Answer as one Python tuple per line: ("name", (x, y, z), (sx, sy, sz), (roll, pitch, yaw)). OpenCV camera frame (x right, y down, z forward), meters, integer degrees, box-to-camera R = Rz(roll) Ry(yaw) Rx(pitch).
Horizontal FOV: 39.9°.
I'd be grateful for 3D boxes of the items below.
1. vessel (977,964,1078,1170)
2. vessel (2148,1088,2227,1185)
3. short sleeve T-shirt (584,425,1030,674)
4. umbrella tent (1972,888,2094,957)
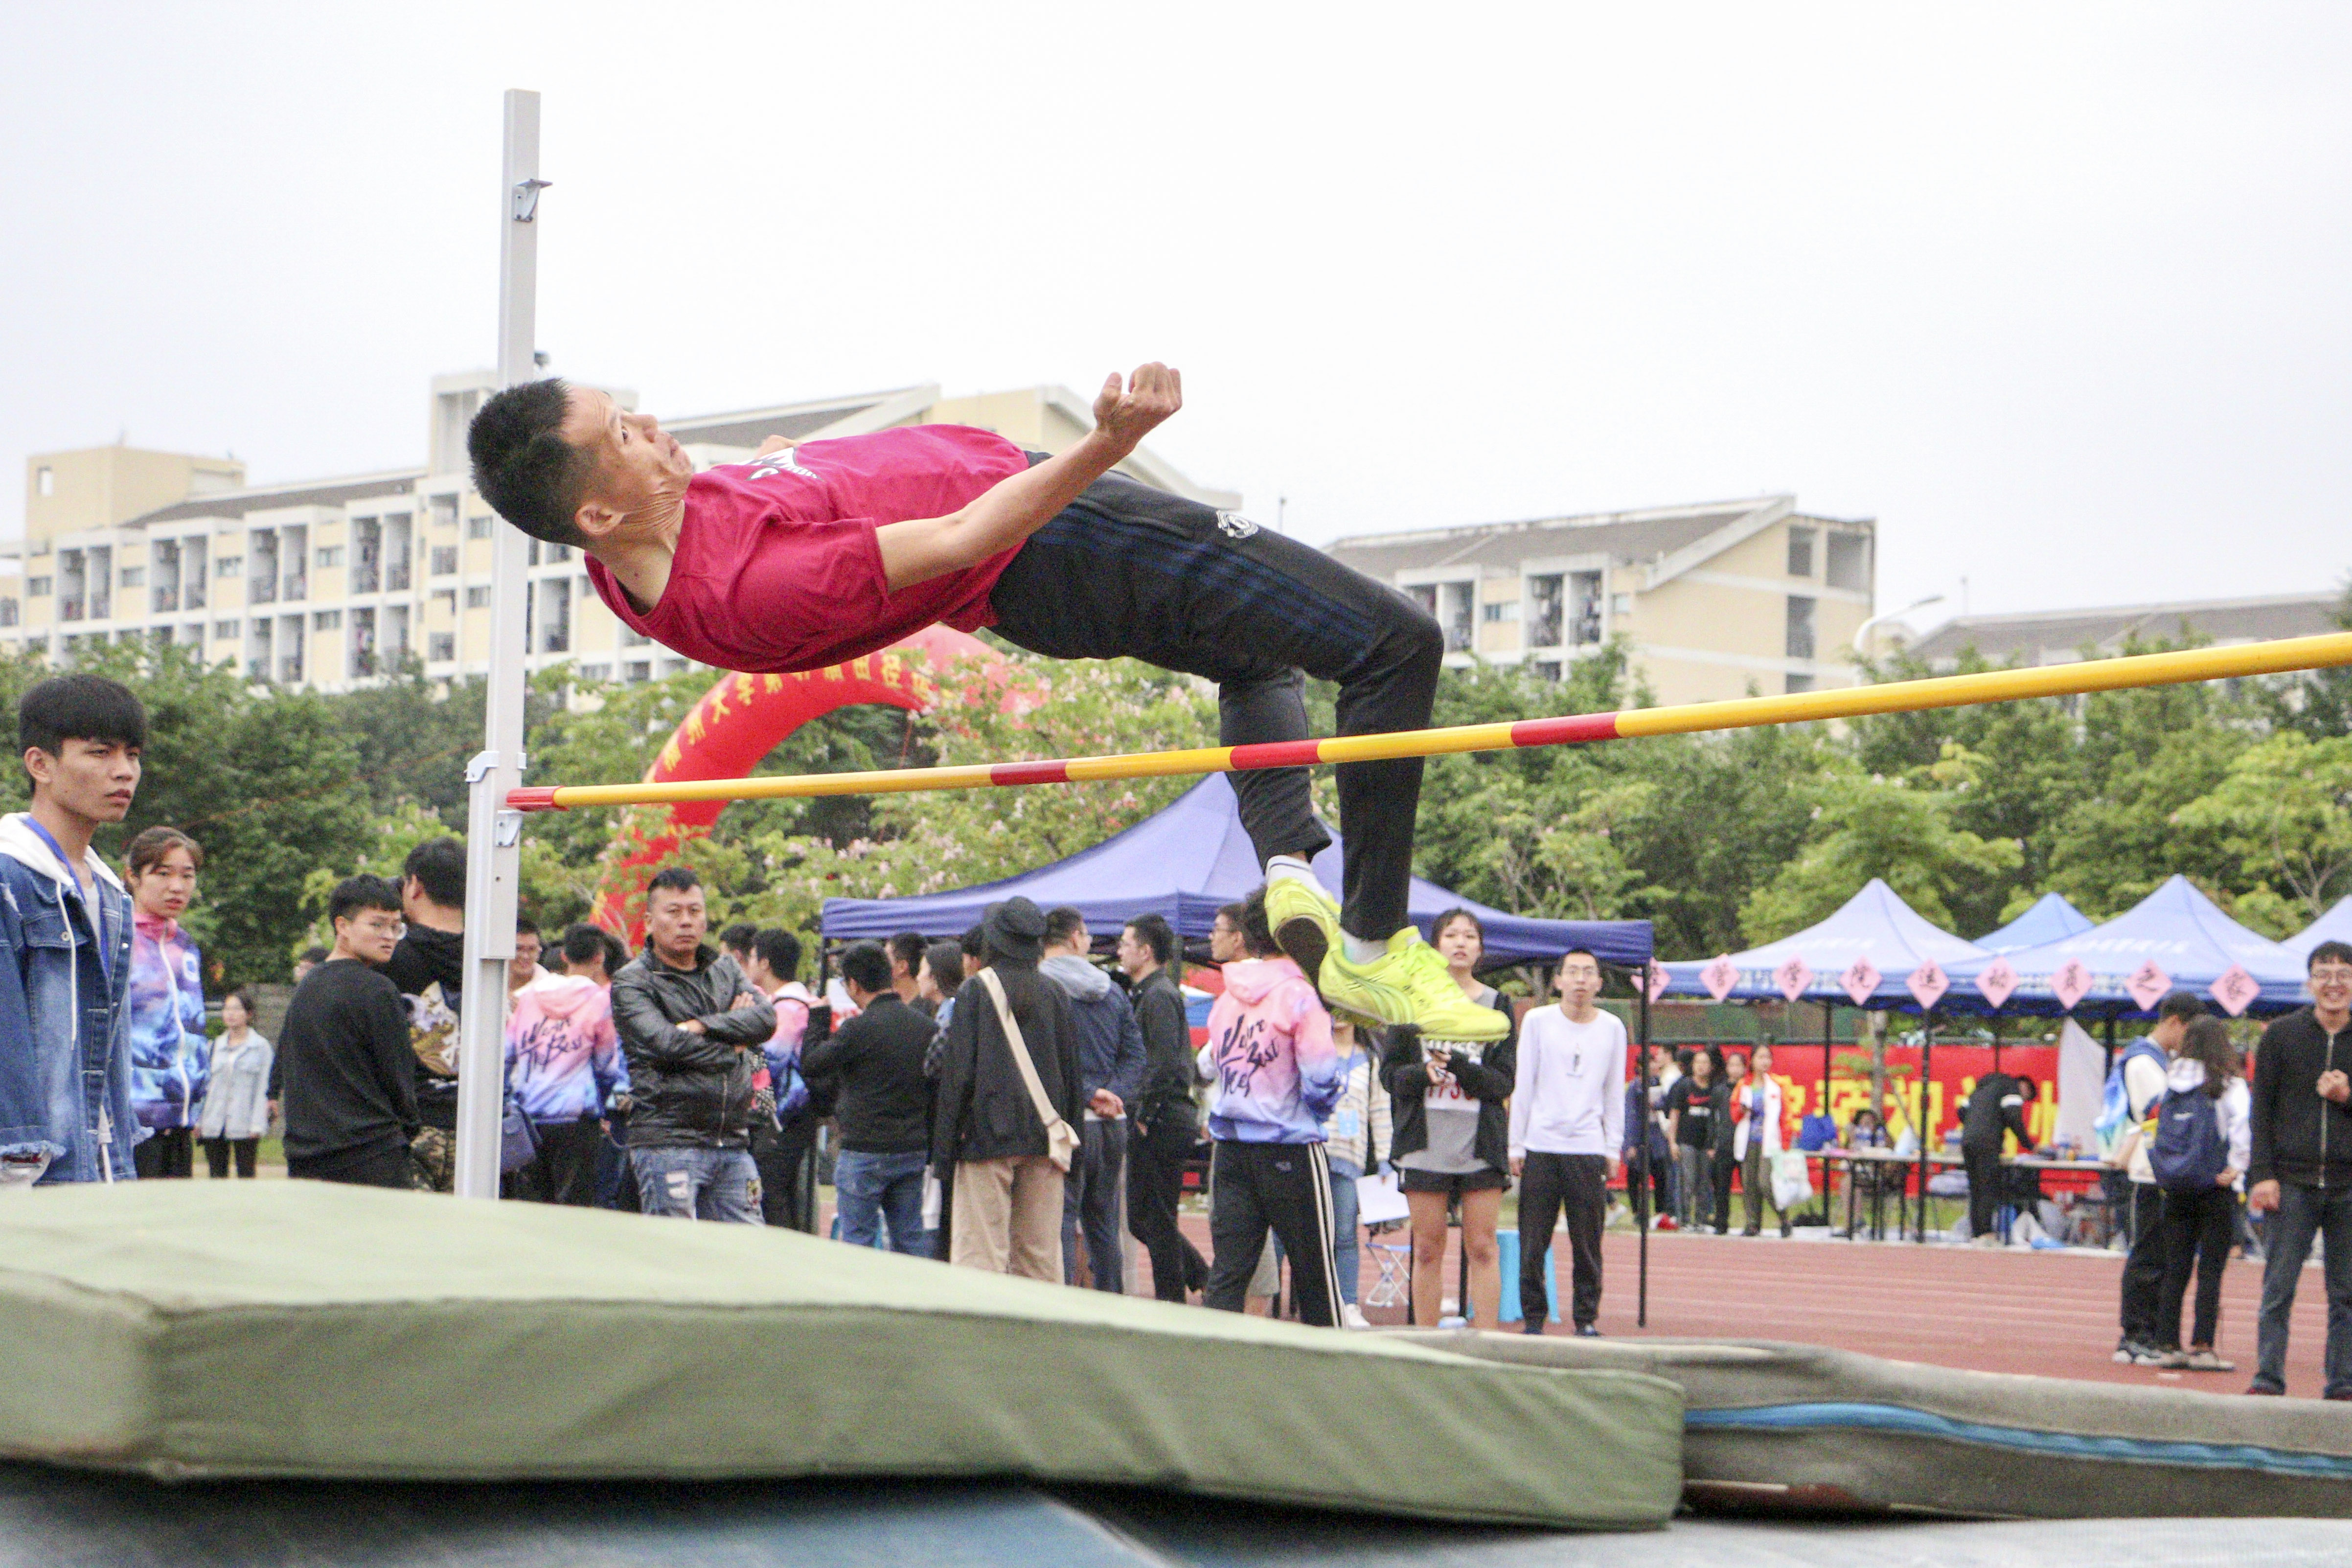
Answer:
("vessel", (-0.551, 1.103, 12.316), (0.128, 0.845, 0.283), (-23, 2, 42))
("vessel", (4.265, 1.494, 13.585), (0.297, 0.429, 0.247), (-2, -7, 16))
("short sleeve T-shirt", (-0.842, -0.708, 8.362), (0.854, 0.282, 0.730), (-18, 20, -34))
("umbrella tent", (6.467, 1.070, 23.905), (0.713, 0.280, 0.702), (1, -5, -28))
